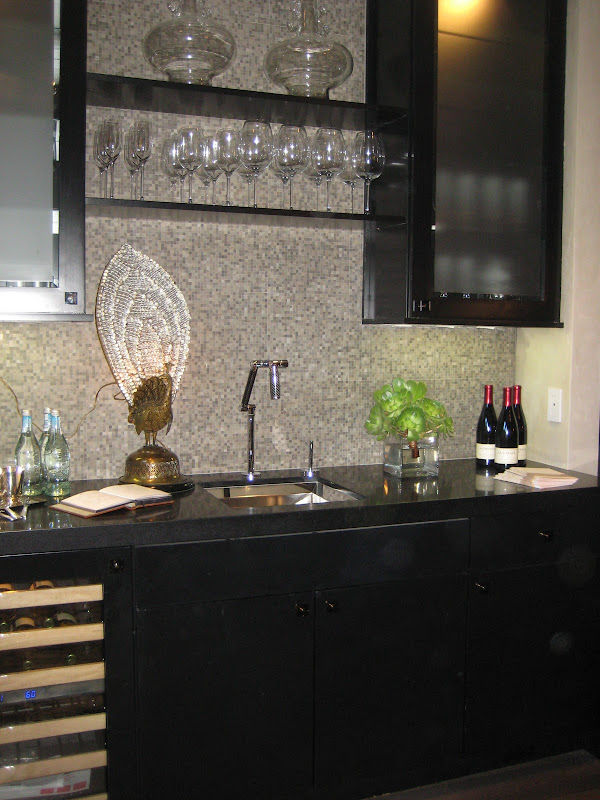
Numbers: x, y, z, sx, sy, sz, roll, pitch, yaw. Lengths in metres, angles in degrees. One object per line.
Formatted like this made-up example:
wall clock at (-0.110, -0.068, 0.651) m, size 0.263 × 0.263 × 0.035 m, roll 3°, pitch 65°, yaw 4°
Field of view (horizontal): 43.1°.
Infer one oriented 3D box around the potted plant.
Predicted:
potted plant at (0.361, 0.111, 2.442) m, size 0.287 × 0.295 × 0.293 m, roll 5°, pitch -7°, yaw -11°

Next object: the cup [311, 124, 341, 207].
cup at (0.083, -0.716, 2.162) m, size 0.084 × 0.183 × 0.159 m, roll -3°, pitch 1°, yaw 10°

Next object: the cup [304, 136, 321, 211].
cup at (0.048, -0.642, 2.149) m, size 0.061 × 0.239 × 0.061 m, roll -2°, pitch 17°, yaw 1°

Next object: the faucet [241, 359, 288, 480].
faucet at (-0.106, 0.060, 2.341) m, size 0.148 × 0.344 × 0.323 m, roll -3°, pitch 1°, yaw -1°
